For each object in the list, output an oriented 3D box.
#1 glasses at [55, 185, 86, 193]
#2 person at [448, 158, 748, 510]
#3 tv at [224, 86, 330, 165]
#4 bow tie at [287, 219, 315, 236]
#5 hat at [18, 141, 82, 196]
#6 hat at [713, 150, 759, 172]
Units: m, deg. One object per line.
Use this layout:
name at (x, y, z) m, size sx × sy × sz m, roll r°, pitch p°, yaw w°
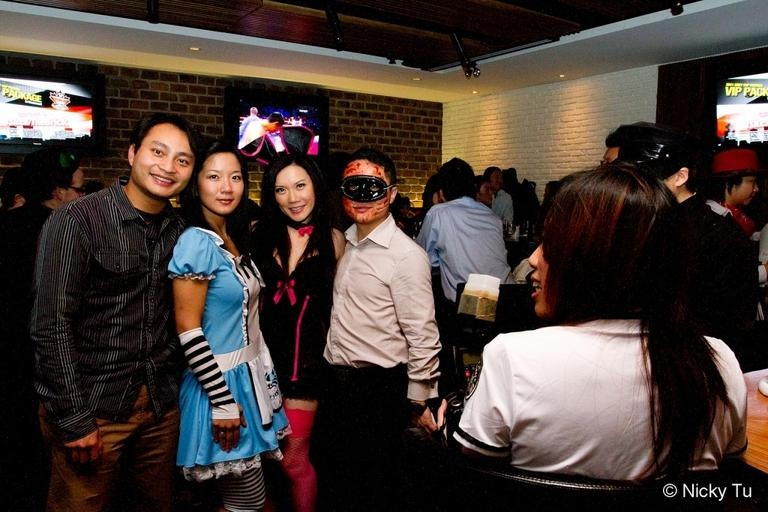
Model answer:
glasses at (-1.971, -0.409, 3.264) m, size 0.107 × 0.030 × 0.104 m, roll -1°, pitch 3°, yaw 28°
person at (0.650, 0.245, 1.845) m, size 1.244 × 0.961 × 0.827 m, roll -1°, pitch 9°, yaw -12°
tv at (-1.521, -1.774, 7.329) m, size 0.207 × 0.940 × 1.685 m, roll 14°, pitch 16°, yaw 41°
bow tie at (-0.423, -0.140, 2.662) m, size 0.083 × 0.066 × 0.102 m, roll 11°, pitch 1°, yaw -25°
hat at (-2.109, -0.510, 3.218) m, size 0.288 × 0.328 × 0.375 m, roll 15°, pitch 22°, yaw 34°
hat at (2.933, -0.766, 4.353) m, size 0.295 × 0.069 × 0.258 m, roll -2°, pitch 5°, yaw -41°
